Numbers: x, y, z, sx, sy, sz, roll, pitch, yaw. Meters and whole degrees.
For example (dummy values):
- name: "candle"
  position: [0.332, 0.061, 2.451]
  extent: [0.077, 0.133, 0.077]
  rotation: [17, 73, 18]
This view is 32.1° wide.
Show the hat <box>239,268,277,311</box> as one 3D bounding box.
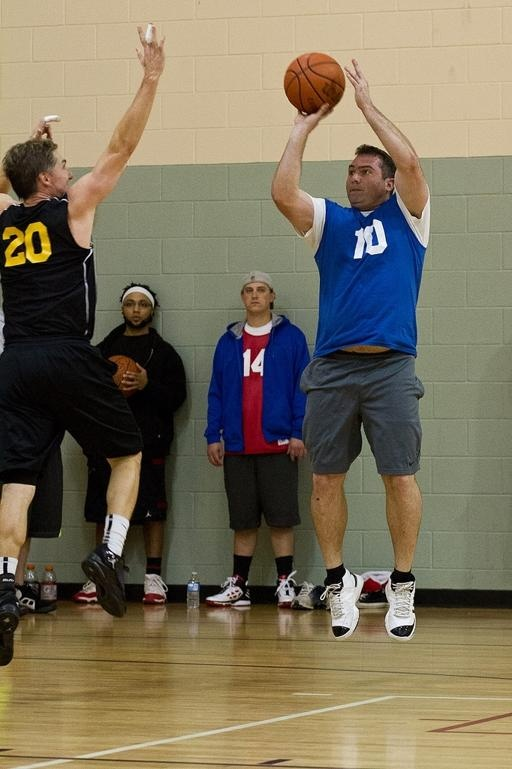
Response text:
- name: "hat"
  position: [0.045, -0.602, 5.567]
  extent: [0.193, 0.219, 0.236]
  rotation: [3, 0, 6]

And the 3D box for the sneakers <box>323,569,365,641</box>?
- name: "sneakers"
  position: [0.341, 0.822, 3.378]
  extent: [0.168, 0.114, 0.345]
  rotation: [27, 29, -10]

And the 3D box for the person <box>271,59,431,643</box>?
- name: "person"
  position: [0.383, -0.124, 3.348]
  extent: [0.558, 2.154, 0.437]
  rotation: [3, 10, 26]

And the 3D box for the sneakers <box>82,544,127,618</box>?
- name: "sneakers"
  position: [-0.520, 0.685, 3.040]
  extent: [0.134, 0.236, 0.164]
  rotation: [-3, 9, -10]

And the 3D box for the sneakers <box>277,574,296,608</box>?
- name: "sneakers"
  position: [0.180, 1.227, 5.194]
  extent: [0.097, 0.084, 0.204]
  rotation: [-2, -7, 2]

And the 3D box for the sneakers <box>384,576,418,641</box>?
- name: "sneakers"
  position: [0.527, 0.834, 3.274]
  extent: [0.100, 0.258, 0.116]
  rotation: [0, -25, 4]

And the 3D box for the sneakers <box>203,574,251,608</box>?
- name: "sneakers"
  position: [-0.143, 1.251, 5.298]
  extent: [0.357, 0.200, 0.119]
  rotation: [4, -12, -10]
